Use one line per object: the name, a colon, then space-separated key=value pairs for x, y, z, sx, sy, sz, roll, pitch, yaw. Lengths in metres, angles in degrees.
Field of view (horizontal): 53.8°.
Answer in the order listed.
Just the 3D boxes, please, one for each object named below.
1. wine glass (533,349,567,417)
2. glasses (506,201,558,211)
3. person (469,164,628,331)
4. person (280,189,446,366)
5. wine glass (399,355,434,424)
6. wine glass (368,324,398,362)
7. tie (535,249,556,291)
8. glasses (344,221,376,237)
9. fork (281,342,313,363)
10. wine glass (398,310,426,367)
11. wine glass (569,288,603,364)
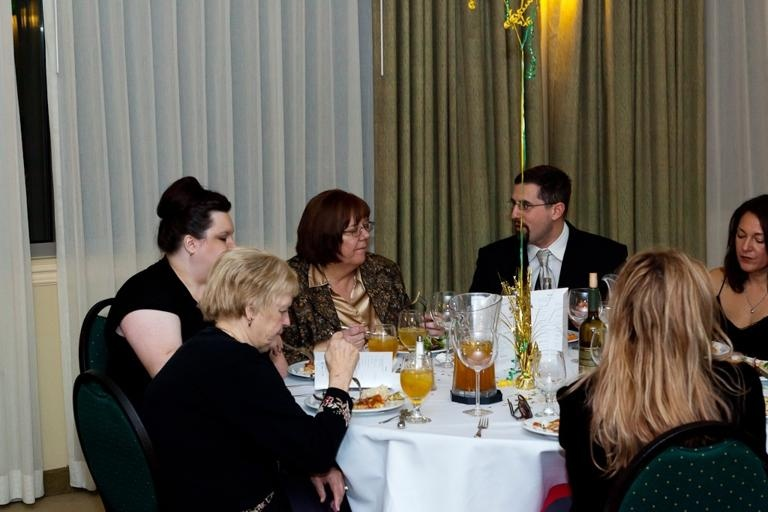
wine glass: x=0.628 y=0.476 z=2.879 sx=0.126 sy=0.278 sz=0.134 roll=6 pitch=10 yaw=33
glasses: x=0.817 y=-0.289 z=4.209 sx=0.239 sy=0.061 sz=0.123 roll=-7 pitch=0 yaw=23
person: x=0.967 y=-0.017 z=4.354 sx=0.780 sy=0.941 sz=0.422 roll=3 pitch=7 yaw=42
person: x=-0.207 y=0.061 z=4.188 sx=0.659 sy=1.152 sz=0.763 roll=-7 pitch=8 yaw=-35
wine glass: x=0.121 y=0.489 z=2.866 sx=0.120 sy=0.277 sz=0.124 roll=7 pitch=13 yaw=40
wine glass: x=0.006 y=0.397 z=3.293 sx=0.130 sy=0.168 sz=0.149 roll=-7 pitch=-15 yaw=22
tie: x=0.838 y=0.093 z=3.977 sx=0.085 sy=0.276 sz=0.080 roll=-2 pitch=-40 yaw=12
glasses: x=-0.123 y=-0.130 z=3.871 sx=0.061 sy=0.082 sz=0.217 roll=-5 pitch=1 yaw=34
fork: x=-0.412 y=0.460 z=3.576 sx=0.135 sy=0.025 sz=0.033 roll=38 pitch=16 yaw=-26
wine glass: x=0.123 y=0.353 z=3.426 sx=0.111 sy=0.252 sz=0.132 roll=-4 pitch=13 yaw=-13
wine glass: x=0.872 y=0.324 z=3.247 sx=0.087 sy=0.393 sz=0.099 roll=9 pitch=16 yaw=18
